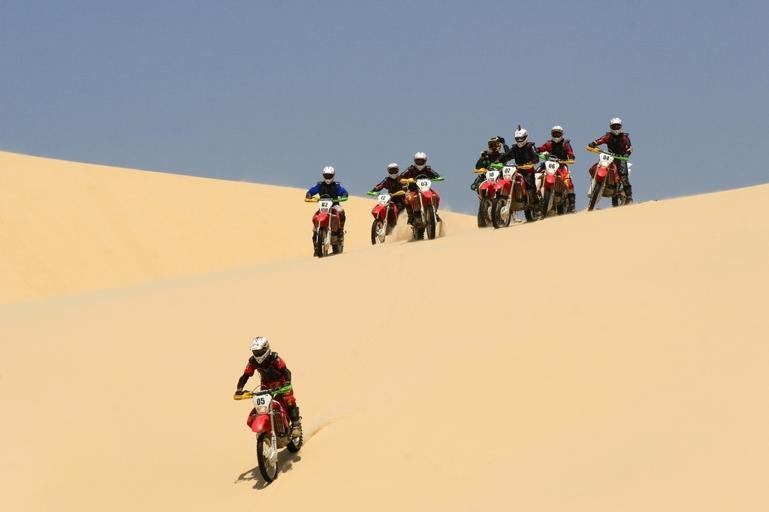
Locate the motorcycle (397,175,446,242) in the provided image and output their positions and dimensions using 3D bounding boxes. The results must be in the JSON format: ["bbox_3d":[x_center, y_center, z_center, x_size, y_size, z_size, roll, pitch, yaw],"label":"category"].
[{"bbox_3d":[0.919,-1.204,26.648,0.892,1.644,1.503,-2,-2,1],"label":"motorcycle"}]

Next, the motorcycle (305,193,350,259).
[{"bbox_3d":[-1.402,-0.777,26.908,0.846,1.531,1.274,-2,-2,-4],"label":"motorcycle"}]

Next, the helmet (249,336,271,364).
[{"bbox_3d":[-2.222,1.644,19.257,0.315,0.440,0.385,-2,-2,9],"label":"helmet"}]

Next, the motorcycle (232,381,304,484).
[{"bbox_3d":[-1.984,3.041,18.870,0.831,1.192,1.900,-14,-10,6],"label":"motorcycle"}]

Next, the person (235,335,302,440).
[{"bbox_3d":[-2.092,2.404,19.322,1.162,1.951,1.032,-19,11,-42],"label":"person"}]

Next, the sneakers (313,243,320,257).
[{"bbox_3d":[-1.681,-0.159,26.535,0.220,0.252,0.281,-3,-15,10],"label":"sneakers"}]
